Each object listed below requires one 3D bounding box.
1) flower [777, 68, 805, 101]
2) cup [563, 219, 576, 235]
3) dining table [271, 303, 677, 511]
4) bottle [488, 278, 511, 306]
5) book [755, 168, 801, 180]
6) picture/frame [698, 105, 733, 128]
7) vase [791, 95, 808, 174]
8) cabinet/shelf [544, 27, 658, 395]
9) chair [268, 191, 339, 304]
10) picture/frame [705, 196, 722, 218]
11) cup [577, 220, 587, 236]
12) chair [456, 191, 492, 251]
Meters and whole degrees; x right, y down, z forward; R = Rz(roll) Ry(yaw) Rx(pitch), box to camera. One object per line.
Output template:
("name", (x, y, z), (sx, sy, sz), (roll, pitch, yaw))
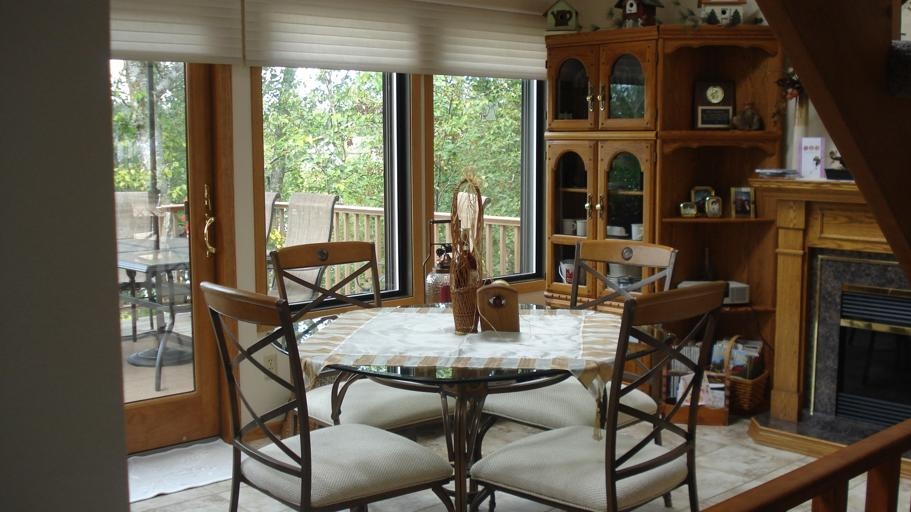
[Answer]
("flower", (2.033, -1.094, 4.103), (0.088, 0.180, 0.149), (-13, 38, 47))
("cup", (0.777, -0.190, 4.673), (0.084, 0.073, 0.102), (-4, 7, -42))
("dining table", (-0.009, 0.350, 2.698), (0.976, 0.574, 0.937), (-5, 11, -29))
("bottle", (0.179, 0.149, 2.827), (0.096, 0.088, 0.095), (-2, 11, 2))
("book", (1.916, -0.486, 4.011), (0.220, 0.054, 0.226), (4, 9, 30))
("picture/frame", (1.656, -0.886, 4.334), (0.165, 0.108, 0.017), (0, 2, -1))
("vase", (2.126, -0.758, 4.173), (0.082, 0.440, 0.205), (3, 10, 25))
("cabinet/shelf", (1.038, -0.524, 4.632), (0.870, 1.766, 0.542), (6, 13, 37))
("chair", (-0.899, -0.114, 4.056), (0.331, 0.550, 0.441), (-1, -12, 0))
("picture/frame", (1.696, -0.319, 4.396), (0.158, 0.128, 0.083), (-6, 11, -34))
("cup", (0.853, -0.185, 4.558), (0.081, 0.091, 0.099), (-1, -1, 19))
("chair", (0.126, -0.123, 2.799), (0.123, 0.189, 0.114), (28, 12, 24))
